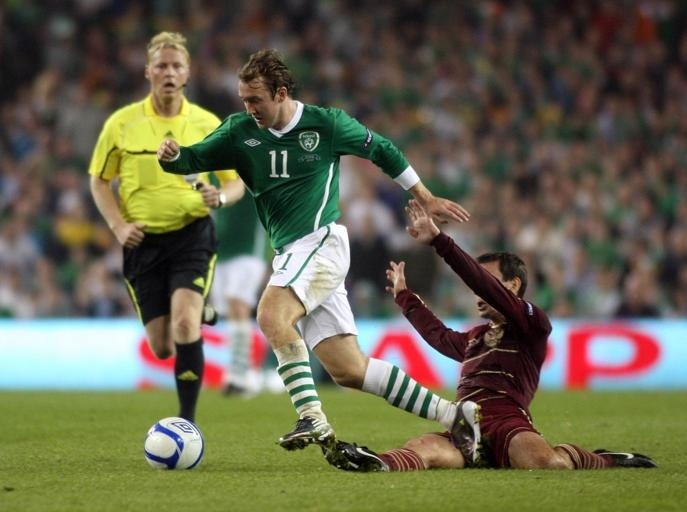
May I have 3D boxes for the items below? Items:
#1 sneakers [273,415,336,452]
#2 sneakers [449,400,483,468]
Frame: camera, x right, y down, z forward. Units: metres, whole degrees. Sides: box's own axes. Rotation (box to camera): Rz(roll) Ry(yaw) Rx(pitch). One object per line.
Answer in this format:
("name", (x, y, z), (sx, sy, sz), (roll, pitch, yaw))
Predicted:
("sneakers", (-0.266, 1.231, 6.674), (0.437, 0.231, 0.155), (-1, -19, -34))
("sneakers", (0.851, 1.341, 6.944), (0.247, 0.210, 0.600), (18, 29, 1))
